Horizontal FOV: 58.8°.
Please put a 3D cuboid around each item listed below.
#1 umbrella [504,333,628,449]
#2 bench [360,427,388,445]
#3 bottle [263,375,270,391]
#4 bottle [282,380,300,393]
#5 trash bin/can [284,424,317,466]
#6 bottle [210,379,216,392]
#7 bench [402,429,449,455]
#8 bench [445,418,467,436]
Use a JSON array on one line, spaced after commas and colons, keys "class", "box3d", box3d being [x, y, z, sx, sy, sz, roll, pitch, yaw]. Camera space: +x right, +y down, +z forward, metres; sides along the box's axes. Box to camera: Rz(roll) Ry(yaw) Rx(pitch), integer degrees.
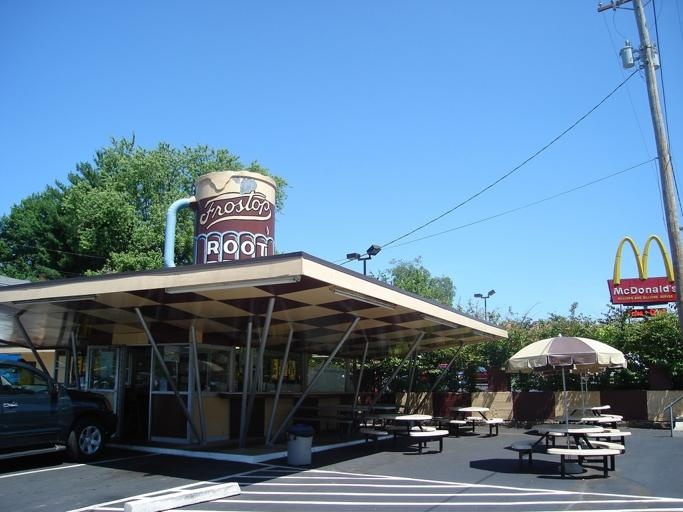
[{"class": "umbrella", "box3d": [5.682, 3.152, 15.488, 2.768, 2.124, 2.848, -14, -19, 38]}, {"class": "bench", "box3d": [1.001, 5.561, 18.732, 0.948, 0.300, 1.377, -2, -12, 14]}, {"class": "bottle", "box3d": [-2.575, 4.338, 20.866, 0.108, 0.514, 0.449, -1, -13, 19]}, {"class": "bottle", "box3d": [-1.800, 4.699, 22.033, 0.150, 0.359, 1.163, -3, -12, 24]}, {"class": "trash bin/can", "box3d": [-1.059, 4.615, 14.978, 0.789, 0.832, 0.749, -5, -17, 21]}, {"class": "bottle", "box3d": [-3.911, 3.922, 18.384, 0.051, 0.336, 0.372, -2, -13, 21]}, {"class": "bench", "box3d": [2.424, 5.394, 17.578, 0.883, 0.275, 1.247, -5, -14, 24]}, {"class": "bench", "box3d": [4.203, 6.200, 21.961, 0.895, 0.492, 0.838, -1, -8, 15]}]
